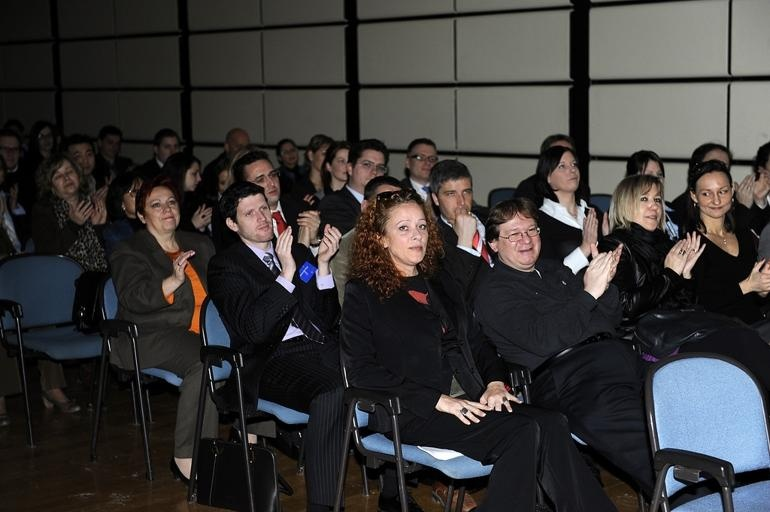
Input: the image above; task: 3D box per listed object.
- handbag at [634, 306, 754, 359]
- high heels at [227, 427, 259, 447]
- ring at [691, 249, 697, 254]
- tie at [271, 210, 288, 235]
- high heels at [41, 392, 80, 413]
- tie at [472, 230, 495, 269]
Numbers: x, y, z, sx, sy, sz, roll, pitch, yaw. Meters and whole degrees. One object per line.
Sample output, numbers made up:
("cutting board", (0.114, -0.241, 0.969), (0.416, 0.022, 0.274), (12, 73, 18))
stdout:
("handbag", (1.644, 0.399, 3.411), (0.426, 0.144, 0.351), (-11, 4, 9))
("high heels", (-0.805, 1.029, 3.504), (0.143, 0.124, 0.199), (9, -28, 3))
("ring", (1.798, -0.028, 3.583), (0.030, 0.033, 0.024), (-12, 0, 33))
("tie", (-0.794, -0.255, 4.651), (0.104, 0.116, 0.388), (-21, 23, 4))
("high heels", (-2.495, 1.104, 4.783), (0.381, 0.178, 0.134), (2, 3, 28))
("tie", (0.609, -0.040, 3.842), (0.031, 0.094, 0.239), (3, -33, 33))
